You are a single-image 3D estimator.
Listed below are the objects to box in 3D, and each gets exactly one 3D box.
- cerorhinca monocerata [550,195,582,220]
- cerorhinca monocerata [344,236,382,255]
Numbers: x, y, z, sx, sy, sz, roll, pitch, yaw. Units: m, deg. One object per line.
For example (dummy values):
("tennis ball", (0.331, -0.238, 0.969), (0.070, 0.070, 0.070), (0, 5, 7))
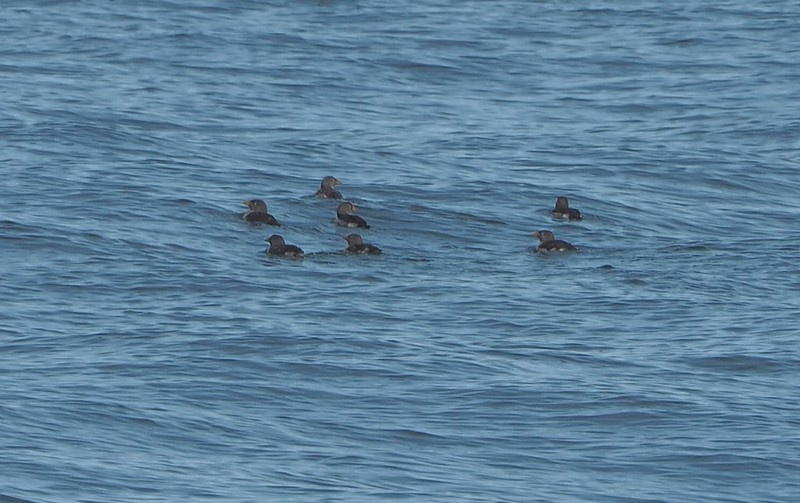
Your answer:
("cerorhinca monocerata", (3.416, -0.819, 24.158), (0.598, 0.505, 0.622), (5, 55, -5))
("cerorhinca monocerata", (-0.631, -0.120, 21.571), (0.693, 0.580, 0.404), (0, 61, -7))
